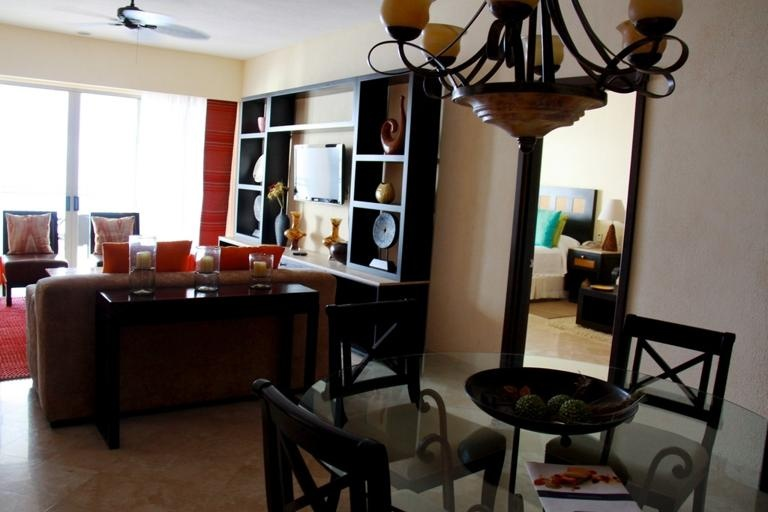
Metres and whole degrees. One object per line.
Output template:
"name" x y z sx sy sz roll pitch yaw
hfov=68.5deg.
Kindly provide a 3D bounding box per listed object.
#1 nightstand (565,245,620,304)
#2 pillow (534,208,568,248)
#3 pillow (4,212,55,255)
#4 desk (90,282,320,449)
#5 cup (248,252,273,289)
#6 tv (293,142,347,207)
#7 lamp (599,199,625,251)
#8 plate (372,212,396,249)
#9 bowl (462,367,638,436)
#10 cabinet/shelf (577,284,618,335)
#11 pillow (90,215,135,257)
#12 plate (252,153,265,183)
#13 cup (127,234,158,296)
"nightstand" 2.737 0.268 7.359 0.592 0.636 0.578 9 8 31
"pillow" 2.299 -0.381 7.776 0.383 0.447 0.804 8 14 17
"pillow" -4.056 -0.246 6.386 0.493 0.466 0.175 5 -2 -24
"desk" -1.220 0.745 4.118 0.461 0.946 1.522 -4 -1 16
"cup" -0.918 0.116 4.128 0.176 0.210 0.200 4 8 -23
"tv" -0.727 -0.920 6.386 0.101 0.657 0.930 -7 12 -42
"lamp" 3.044 -0.432 7.479 0.293 0.641 0.814 10 14 21
"plate" 0.015 -0.240 5.168 0.088 0.326 0.376 -3 15 -26
"bowl" 0.772 0.620 2.488 0.378 0.084 0.380 2 7 0
"cabinet/shelf" 2.372 0.720 6.450 0.473 0.433 0.466 13 -26 6
"pillow" -2.927 -0.212 6.010 0.526 0.481 0.188 0 -3 -35
"plate" -1.581 -1.080 7.116 0.108 0.354 0.292 10 -16 -14
"cup" -1.601 0.052 3.734 0.164 0.340 0.281 -2 15 -24
